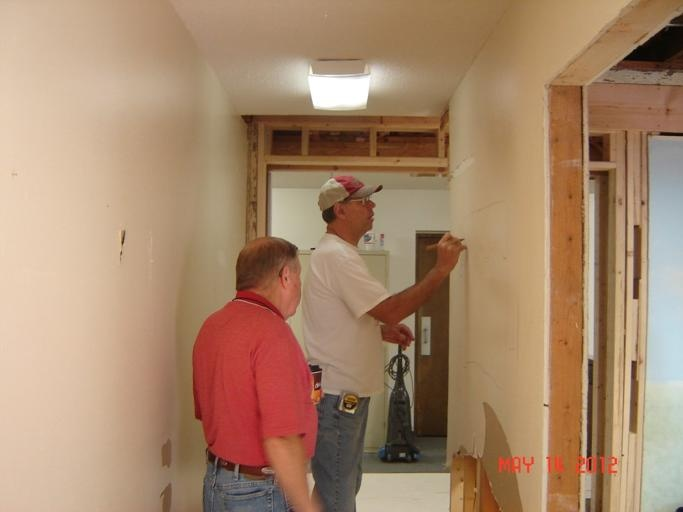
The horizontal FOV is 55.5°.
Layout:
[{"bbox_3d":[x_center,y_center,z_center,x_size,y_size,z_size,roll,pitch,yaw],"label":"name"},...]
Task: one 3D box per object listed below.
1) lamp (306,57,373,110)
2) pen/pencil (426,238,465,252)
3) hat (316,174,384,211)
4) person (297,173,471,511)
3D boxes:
[{"bbox_3d":[-0.011,-0.825,3.173,0.279,0.190,0.397,-1,0,0],"label":"lamp"},{"bbox_3d":[0.550,-0.059,3.457,0.160,0.029,0.022,3,-35,-4],"label":"pen/pencil"},{"bbox_3d":[0.029,-0.298,3.017,0.246,0.118,0.160,-18,11,8],"label":"hat"},{"bbox_3d":[0.138,0.359,2.899,0.616,1.271,0.359,-1,0,-5],"label":"person"}]
